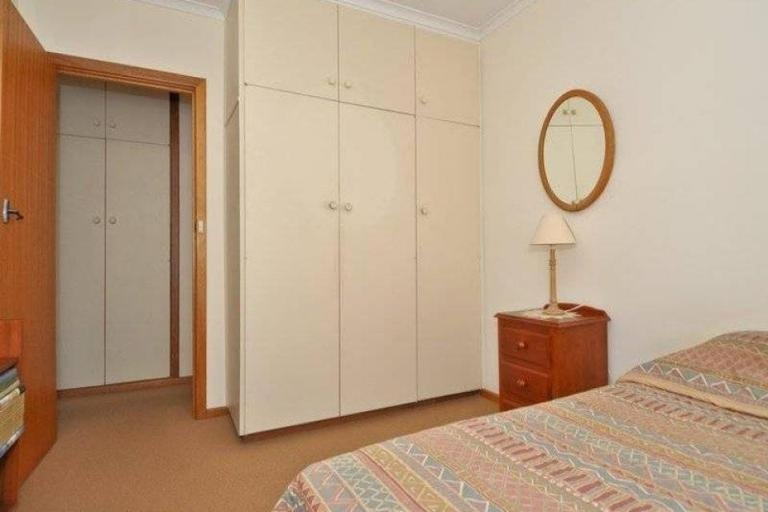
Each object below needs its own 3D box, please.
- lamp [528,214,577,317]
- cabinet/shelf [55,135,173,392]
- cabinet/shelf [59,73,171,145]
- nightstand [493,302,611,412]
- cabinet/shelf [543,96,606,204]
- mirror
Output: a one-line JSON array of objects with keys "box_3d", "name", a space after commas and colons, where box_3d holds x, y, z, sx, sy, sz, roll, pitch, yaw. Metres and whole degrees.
[{"box_3d": [1.214, 0.044, 3.929, 0.282, 0.709, 0.515, 4, 14, 18], "name": "lamp"}, {"box_3d": [-2.530, 0.015, 4.916, 0.224, 2.329, 0.876, 6, 6, 43], "name": "cabinet/shelf"}, {"box_3d": [-2.517, -1.200, 5.079, 0.858, 0.536, 0.463, -3, -9, -22], "name": "cabinet/shelf"}, {"box_3d": [1.169, 0.683, 3.861, 0.476, 0.703, 0.535, -11, 16, -35], "name": "nightstand"}, {"box_3d": [1.380, -0.761, 3.953, 0.160, 0.782, 0.545, -7, 15, -27], "name": "cabinet/shelf"}, {"box_3d": [1.415, -0.765, 3.941, 0.082, 1.064, 0.870, -1, 6, -26], "name": "mirror"}]
